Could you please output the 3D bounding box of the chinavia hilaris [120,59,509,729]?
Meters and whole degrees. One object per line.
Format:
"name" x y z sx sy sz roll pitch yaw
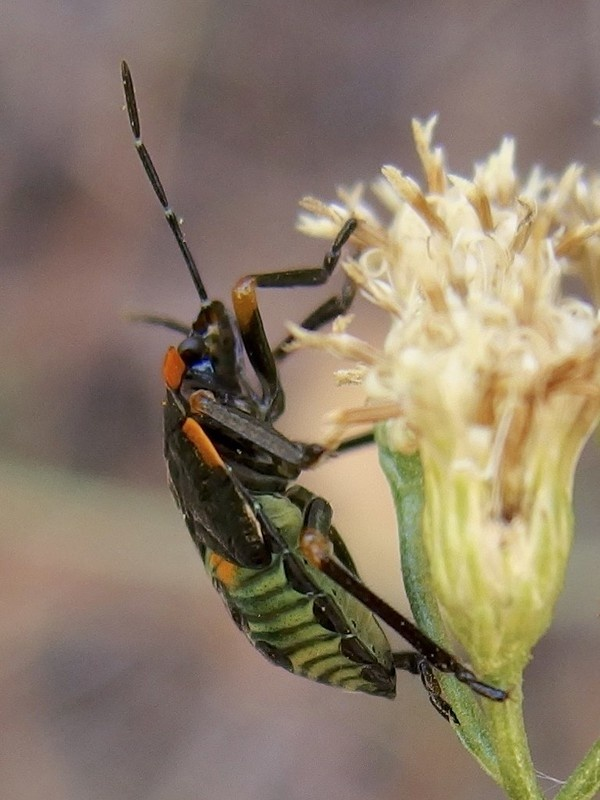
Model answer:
"chinavia hilaris" 0.085 0.017 1.083 0.164 0.493 0.425 -16 -4 -38
